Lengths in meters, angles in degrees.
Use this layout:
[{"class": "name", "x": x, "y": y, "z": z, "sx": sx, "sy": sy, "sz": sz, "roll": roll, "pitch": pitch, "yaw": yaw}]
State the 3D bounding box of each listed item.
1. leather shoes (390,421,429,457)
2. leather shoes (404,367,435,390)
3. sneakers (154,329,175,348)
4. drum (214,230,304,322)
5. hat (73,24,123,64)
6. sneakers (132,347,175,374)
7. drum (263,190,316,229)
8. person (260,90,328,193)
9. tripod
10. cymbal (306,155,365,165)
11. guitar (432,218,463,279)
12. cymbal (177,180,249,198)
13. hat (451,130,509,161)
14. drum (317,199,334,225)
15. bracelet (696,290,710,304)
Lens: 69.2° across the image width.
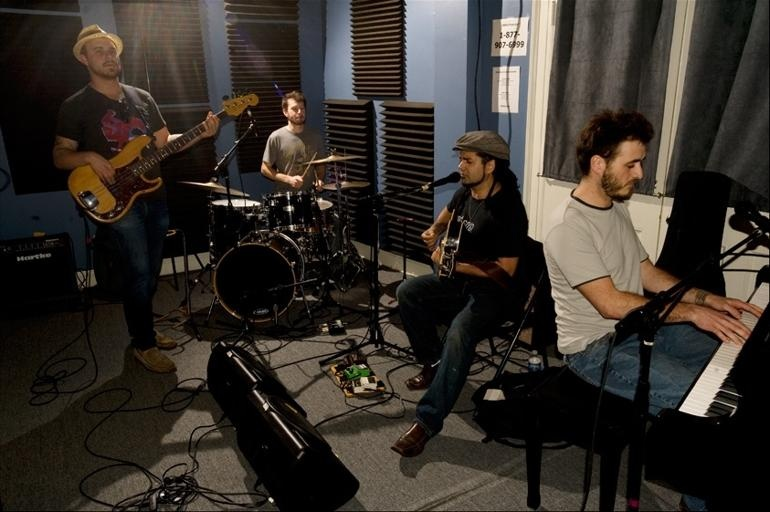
[{"class": "leather shoes", "x": 0.236, "y": 1.415, "z": 4.330, "sx": 0.191, "sy": 0.154, "sz": 0.450, "roll": 9, "pitch": 11, "yaw": 35}, {"class": "leather shoes", "x": 0.323, "y": 1.085, "z": 4.932, "sx": 0.339, "sy": 0.222, "sz": 0.125, "roll": 1, "pitch": 9, "yaw": -26}, {"class": "sneakers", "x": -2.244, "y": 0.836, "z": 5.580, "sx": 0.343, "sy": 0.130, "sz": 0.113, "roll": 7, "pitch": 16, "yaw": 20}, {"class": "drum", "x": -1.233, "y": 0.154, "z": 5.784, "sx": 0.902, "sy": 0.905, "sz": 0.644, "roll": 1, "pitch": 16, "yaw": -11}, {"class": "hat", "x": -2.596, "y": -1.920, "z": 5.022, "sx": 0.393, "sy": 0.306, "sz": 0.569, "roll": -10, "pitch": 24, "yaw": -24}, {"class": "sneakers", "x": -2.177, "y": 0.950, "z": 5.261, "sx": 0.425, "sy": 0.162, "sz": 0.193, "roll": 16, "pitch": 22, "yaw": 28}, {"class": "drum", "x": -1.027, "y": -0.485, "z": 6.016, "sx": 0.584, "sy": 0.395, "sz": 0.592, "roll": -4, "pitch": 6, "yaw": 0}, {"class": "person", "x": -1.085, "y": -1.311, "z": 6.434, "sx": 0.738, "sy": 1.069, "sz": 0.775, "roll": -2, "pitch": 22, "yaw": -6}, {"class": "tripod", "x": -0.144, "y": 0.122, "z": 5.202, "sx": 1.066, "sy": 1.599, "sz": 1.072, "roll": -1, "pitch": -3, "yaw": 35}, {"class": "cymbal", "x": -0.596, "y": -1.155, "z": 6.650, "sx": 0.293, "sy": 0.066, "sz": 0.284, "roll": -12, "pitch": 20, "yaw": -29}, {"class": "guitar", "x": 0.530, "y": -0.075, "z": 4.541, "sx": 0.156, "sy": 0.468, "sz": 0.280, "roll": 14, "pitch": 3, "yaw": -1}, {"class": "cymbal", "x": -2.142, "y": -0.809, "z": 6.786, "sx": 0.417, "sy": 0.084, "sz": 0.412, "roll": 10, "pitch": 4, "yaw": 16}, {"class": "hat", "x": 0.793, "y": -0.862, "z": 4.511, "sx": 0.368, "sy": 0.139, "sz": 0.260, "roll": 8, "pitch": 9, "yaw": -16}, {"class": "drum", "x": -0.661, "y": -0.475, "z": 6.134, "sx": 0.204, "sy": 0.213, "sz": 0.201, "roll": -23, "pitch": 48, "yaw": -23}, {"class": "bracelet", "x": 2.036, "y": 0.269, "z": 3.577, "sx": 0.060, "sy": 0.077, "sz": 0.077, "roll": 14, "pitch": 51, "yaw": 9}]
